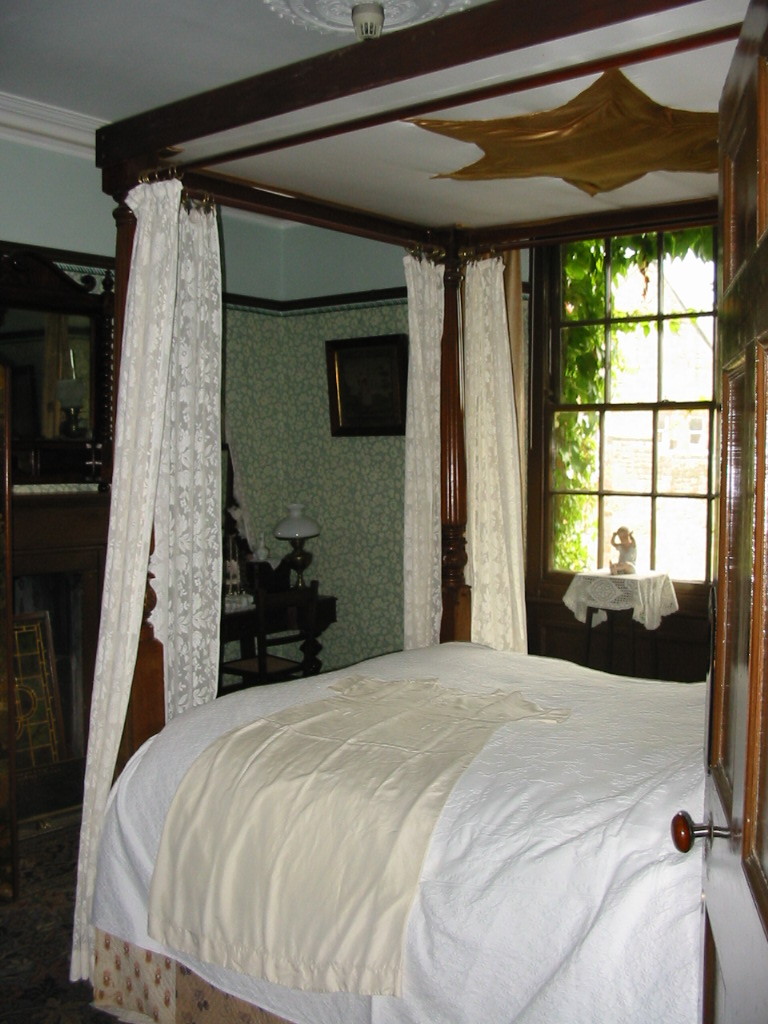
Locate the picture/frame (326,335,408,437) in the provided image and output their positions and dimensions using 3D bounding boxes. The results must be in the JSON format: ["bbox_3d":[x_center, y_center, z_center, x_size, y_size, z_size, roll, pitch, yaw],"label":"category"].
[{"bbox_3d":[-0.097,-0.858,5.530,0.708,0.803,0.086,7,12,31],"label":"picture/frame"}]
